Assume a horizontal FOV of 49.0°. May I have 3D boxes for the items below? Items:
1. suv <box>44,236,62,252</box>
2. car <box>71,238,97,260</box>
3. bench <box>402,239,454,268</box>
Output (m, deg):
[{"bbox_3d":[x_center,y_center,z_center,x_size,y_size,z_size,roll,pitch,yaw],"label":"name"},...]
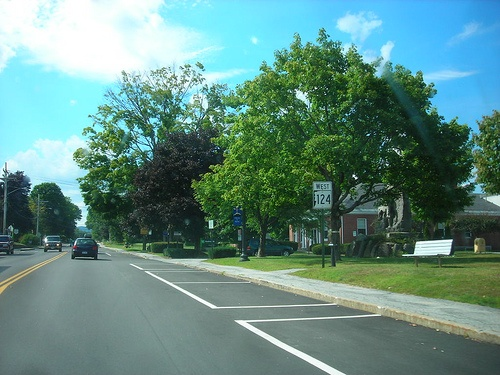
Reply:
[{"bbox_3d":[-22.643,6.219,62.698,1.583,1.366,3.077,2,-11,-24],"label":"suv"},{"bbox_3d":[-11.534,4.215,38.185,1.196,0.977,2.065,1,-1,-20],"label":"car"},{"bbox_3d":[7.316,2.704,22.608,0.884,1.061,2.410,-3,-6,-20],"label":"bench"}]
